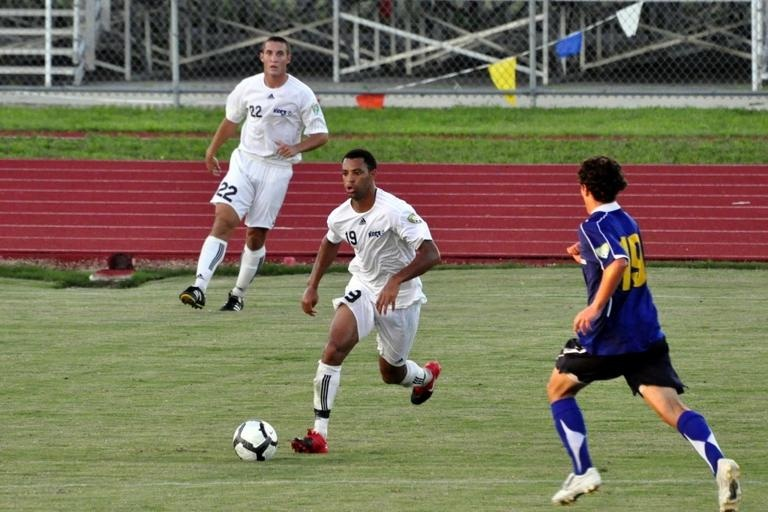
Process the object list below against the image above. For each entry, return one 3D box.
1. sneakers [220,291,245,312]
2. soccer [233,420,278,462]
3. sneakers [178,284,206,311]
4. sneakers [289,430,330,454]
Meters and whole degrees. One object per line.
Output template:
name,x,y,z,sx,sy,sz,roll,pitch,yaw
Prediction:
sneakers,-2.259,0.711,26.299,0.207,0.202,0.401,4,0,8
soccer,-1.724,2.434,23.090,0.554,0.501,0.528,8,-21,-33
sneakers,-2.753,0.609,25.379,0.197,0.239,0.479,10,-19,23
sneakers,-1.054,2.402,23.004,0.574,0.257,0.214,6,-14,16
